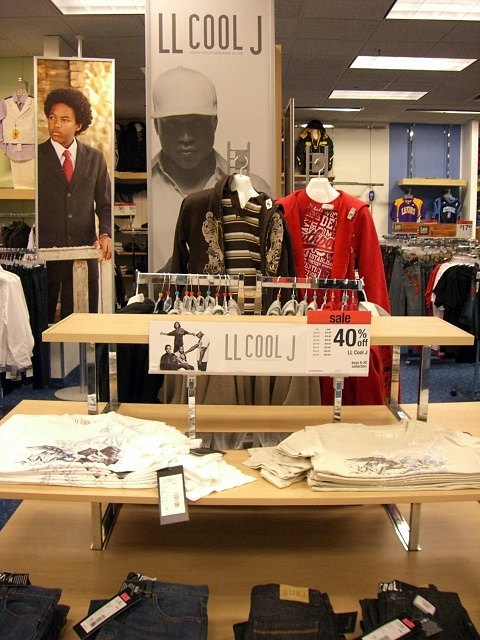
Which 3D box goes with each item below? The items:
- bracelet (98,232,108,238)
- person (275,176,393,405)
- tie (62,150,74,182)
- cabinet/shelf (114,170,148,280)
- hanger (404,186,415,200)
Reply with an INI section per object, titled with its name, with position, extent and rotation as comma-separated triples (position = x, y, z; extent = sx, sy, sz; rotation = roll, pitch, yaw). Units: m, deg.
[bracelet]
position = -1.067, -0.667, 4.102
extent = 0.038, 0.041, 0.041
rotation = -2, 1, -10
[person]
position = 0.441, -0.204, 2.773
extent = 0.597, 1.310, 0.257
rotation = 5, 47, 16
[tie]
position = -1.281, -1.161, 3.937
extent = 0.076, 0.233, 0.021
rotation = -1, 2, -21
[cabinet/shelf]
position = -1.498, -1.292, 7.239
extent = 0.450, 1.446, 1.246
rotation = -1, 2, -13
[hanger]
position = 2.634, -1.990, 8.220
extent = 0.141, 0.249, 0.477
rotation = 0, 3, 19
